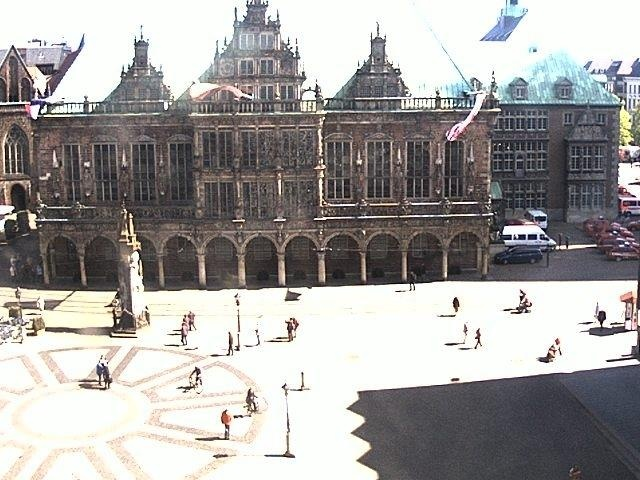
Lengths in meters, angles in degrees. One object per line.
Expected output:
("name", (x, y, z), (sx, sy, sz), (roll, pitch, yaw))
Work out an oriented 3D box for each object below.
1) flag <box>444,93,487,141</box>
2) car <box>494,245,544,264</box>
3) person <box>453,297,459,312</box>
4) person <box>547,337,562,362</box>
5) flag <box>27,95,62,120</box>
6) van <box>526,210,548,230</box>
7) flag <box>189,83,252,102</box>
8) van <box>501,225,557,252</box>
("flag", (14.613, -12.048, 113.316), (3.961, 4.618, 3.500), (-1, 3, 7))
("car", (21.311, 1.643, 122.507), (4.355, 1.540, 2.122), (1, 18, 2))
("person", (12.595, 5.941, 104.817), (0.560, 1.364, 2.652), (-1, 2, 8))
("person", (19.309, 8.969, 94.328), (0.784, 1.251, 2.812), (3, 33, 30))
("flag", (-27.779, -13.410, 116.572), (2.883, 2.808, 8.965), (-1, 2, -3))
("van", (26.133, -2.589, 135.890), (1.963, 2.485, 4.905), (-4, 16, 4))
("flag", (-9.807, -14.410, 111.777), (5.855, 1.917, 4.236), (-2, 2, -16))
("van", (22.824, -0.294, 126.288), (4.626, 2.360, 3.020), (-1, 23, 3))
